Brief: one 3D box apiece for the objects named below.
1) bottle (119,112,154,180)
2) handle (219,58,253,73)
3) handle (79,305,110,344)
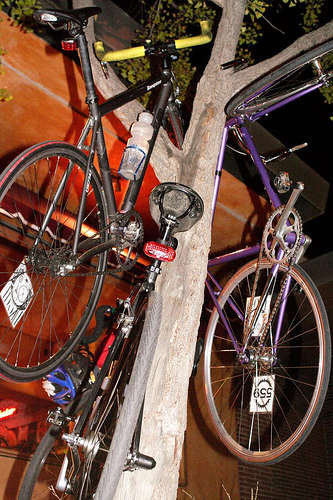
[{"bbox_3d":[-0.110,-0.407,1.568,0.094,0.289,0.088,13,-18,4],"label":"bottle"},{"bbox_3d":[0.353,-0.897,1.974,0.079,0.028,0.105,-5,9,28],"label":"handle"},{"bbox_3d":[-0.271,0.276,1.517,0.093,0.144,0.031,15,0,-4],"label":"handle"}]
